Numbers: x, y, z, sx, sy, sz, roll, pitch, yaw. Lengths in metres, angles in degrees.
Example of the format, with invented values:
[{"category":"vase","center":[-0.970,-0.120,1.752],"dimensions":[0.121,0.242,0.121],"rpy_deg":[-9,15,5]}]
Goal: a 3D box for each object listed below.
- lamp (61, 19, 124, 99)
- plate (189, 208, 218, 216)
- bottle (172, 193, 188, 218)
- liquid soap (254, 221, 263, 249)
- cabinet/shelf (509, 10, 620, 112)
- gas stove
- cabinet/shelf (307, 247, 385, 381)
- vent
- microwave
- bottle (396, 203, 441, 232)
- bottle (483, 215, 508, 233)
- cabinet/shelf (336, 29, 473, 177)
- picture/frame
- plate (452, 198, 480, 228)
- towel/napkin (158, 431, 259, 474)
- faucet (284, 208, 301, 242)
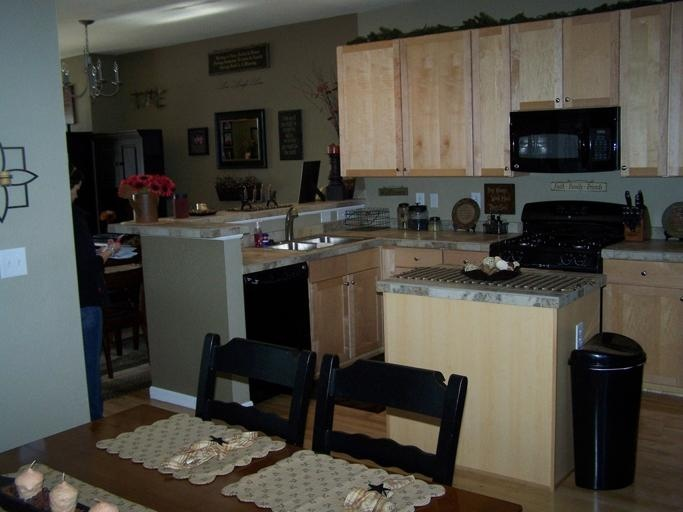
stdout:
[{"category":"lamp","center":[-3.311,-2.574,7.155],"dimensions":[0.700,0.864,0.722],"rpy_deg":[13,18,23]},{"category":"plate","center":[-1.227,-0.376,4.918],"dimensions":[0.194,0.035,0.204],"rpy_deg":[0,3,3]},{"category":"bottle","center":[-1.325,-0.419,4.473],"dimensions":[0.120,0.205,0.303],"rpy_deg":[-7,14,-17]},{"category":"liquid soap","center":[-0.715,-0.183,4.663],"dimensions":[0.079,0.200,0.141],"rpy_deg":[-5,14,-9]},{"category":"cabinet/shelf","center":[1.768,-1.517,4.262],"dimensions":[0.819,0.745,0.322],"rpy_deg":[3,7,30]},{"category":"gas stove","center":[1.656,-0.018,4.319],"dimensions":[0.901,0.189,0.387],"rpy_deg":[5,16,29]},{"category":"cabinet/shelf","center":[0.005,0.394,4.035],"dimensions":[0.415,1.007,1.021],"rpy_deg":[1,4,35]},{"category":"vent","center":[1.923,-0.306,4.594],"dimensions":[0.814,0.267,0.362],"rpy_deg":[4,16,28]},{"category":"microwave","center":[1.774,-0.916,4.331],"dimensions":[0.805,0.541,0.524],"rpy_deg":[3,6,32]},{"category":"bottle","center":[0.752,-0.375,5.317],"dimensions":[0.344,0.241,0.255],"rpy_deg":[6,8,37]},{"category":"bottle","center":[1.400,-0.294,5.000],"dimensions":[0.177,0.176,0.178],"rpy_deg":[-7,9,-41]},{"category":"cabinet/shelf","center":[0.608,-1.376,4.905],"dimensions":[1.319,1.200,0.504],"rpy_deg":[2,7,26]},{"category":"picture/frame","center":[-1.092,-1.494,7.040],"dimensions":[1.433,0.744,0.149],"rpy_deg":[6,16,33]},{"category":"plate","center":[1.175,-0.391,5.166],"dimensions":[0.265,0.280,0.166],"rpy_deg":[2,15,19]},{"category":"towel/napkin","center":[-0.436,0.641,1.788],"dimensions":[0.096,0.028,0.198],"rpy_deg":[5,9,41]},{"category":"faucet","center":[-0.439,-0.293,4.948],"dimensions":[0.119,0.298,0.286],"rpy_deg":[2,15,20]}]
